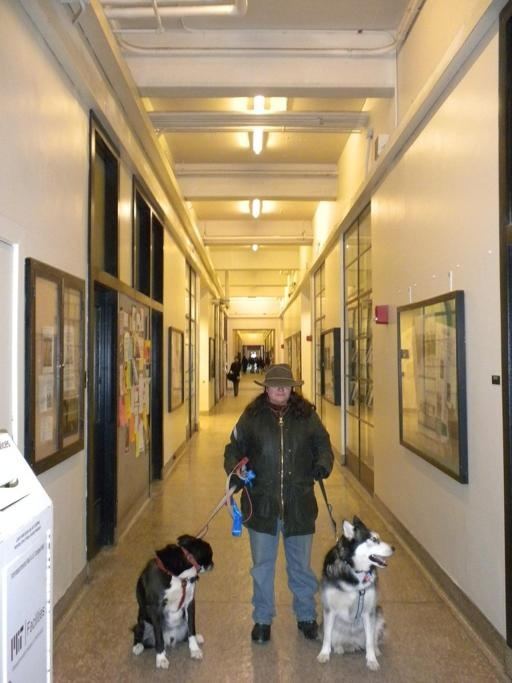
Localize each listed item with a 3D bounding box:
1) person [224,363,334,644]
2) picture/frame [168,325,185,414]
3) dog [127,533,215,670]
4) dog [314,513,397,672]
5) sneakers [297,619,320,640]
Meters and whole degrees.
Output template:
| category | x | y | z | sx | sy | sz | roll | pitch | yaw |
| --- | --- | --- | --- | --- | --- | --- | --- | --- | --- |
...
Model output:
| category | x | y | z | sx | sy | sz | roll | pitch | yaw |
| --- | --- | --- | --- | --- | --- | --- | --- | --- | --- |
| person | 0.123 | 0.918 | 2.650 | 0.392 | 1.621 | 0.382 | -2 | 4 | 1 |
| picture/frame | -1.235 | 0.395 | 7.375 | 0.036 | 1.125 | 1.370 | 1 | -1 | -18 |
| dog | -0.418 | 1.262 | 2.364 | 0.360 | 0.652 | 0.434 | 1 | -3 | -19 |
| dog | 0.441 | 1.188 | 2.259 | 0.324 | 0.752 | 0.427 | 0 | -3 | 9 |
| sneakers | 0.280 | 1.552 | 2.562 | 0.047 | 0.112 | 0.134 | 1 | -28 | -3 |
